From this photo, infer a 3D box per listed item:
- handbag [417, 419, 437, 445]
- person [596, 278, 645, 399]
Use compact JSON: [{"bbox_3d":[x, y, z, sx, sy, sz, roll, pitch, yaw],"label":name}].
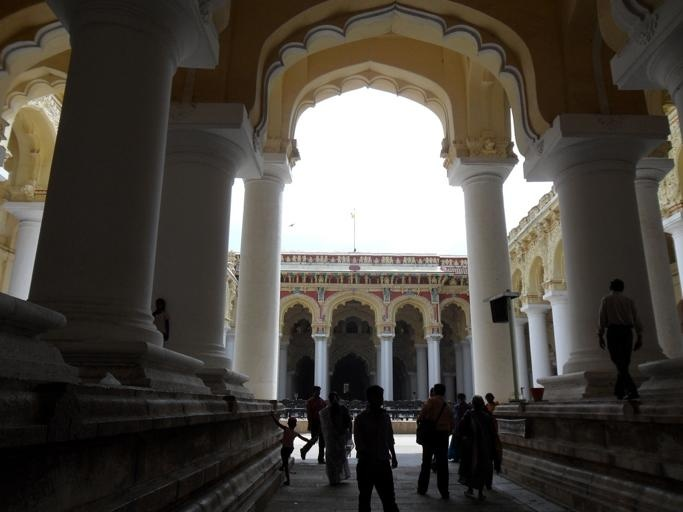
[{"bbox_3d":[0.996,2.043,5.503,0.211,0.397,0.211,-4,-36,17],"label":"handbag"},{"bbox_3d":[2.875,0.842,4.903,0.396,1.207,1.738,-8,-14,28],"label":"person"}]
